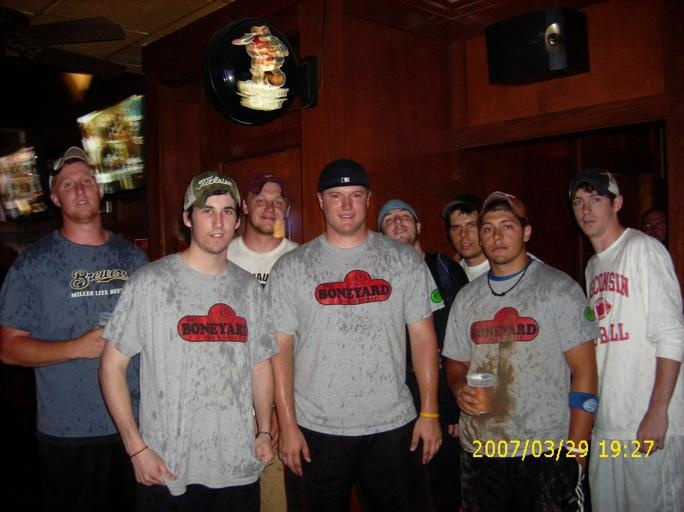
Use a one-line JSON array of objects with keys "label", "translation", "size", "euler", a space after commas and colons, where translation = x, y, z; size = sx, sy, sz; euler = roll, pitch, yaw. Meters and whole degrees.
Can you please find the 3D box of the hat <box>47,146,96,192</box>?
[{"label": "hat", "translation": [-1.897, -0.660, 3.968], "size": [0.268, 0.446, 0.212], "euler": [11, 1, -37]}]
